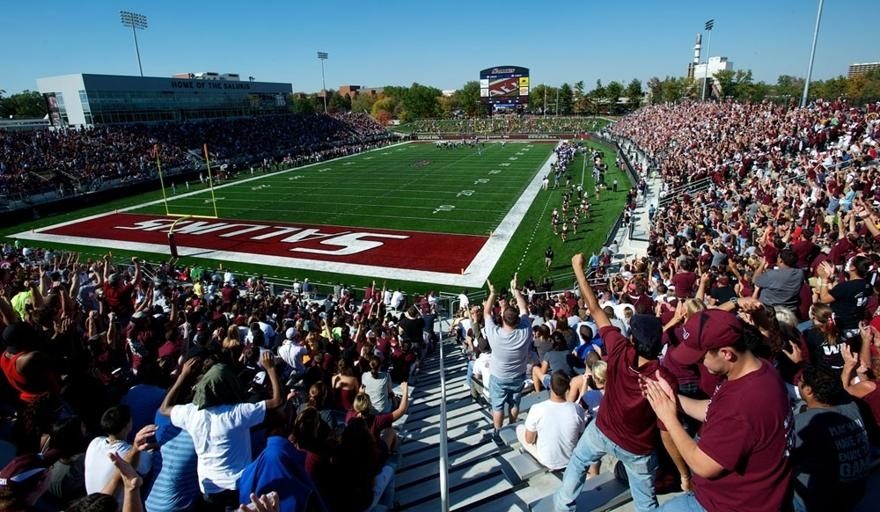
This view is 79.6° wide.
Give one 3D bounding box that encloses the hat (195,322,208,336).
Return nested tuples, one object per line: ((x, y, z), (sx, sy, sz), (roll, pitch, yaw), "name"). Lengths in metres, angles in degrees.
((-5.082, 1.528, 11.238), (0.216, 0.240, 0.264), (5, 27, -10), "hat")

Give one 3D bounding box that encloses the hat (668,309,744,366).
((3.179, 0.959, 6.522), (0.842, 0.467, 0.534), (-24, 26, 22), "hat")
